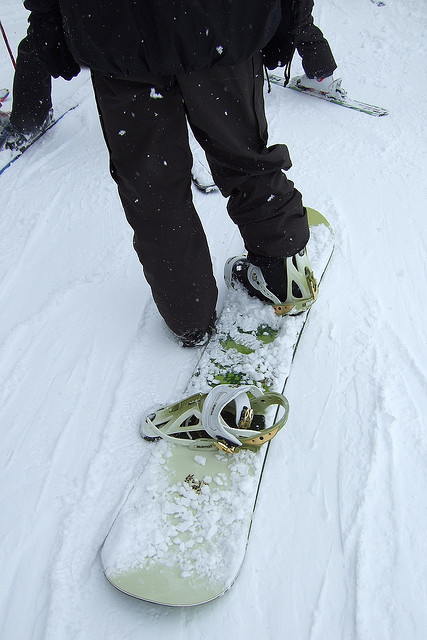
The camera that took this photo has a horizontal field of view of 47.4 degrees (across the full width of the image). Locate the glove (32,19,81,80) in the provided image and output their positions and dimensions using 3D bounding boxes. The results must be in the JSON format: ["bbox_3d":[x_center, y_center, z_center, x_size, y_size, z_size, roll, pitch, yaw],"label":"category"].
[{"bbox_3d":[-0.474,-0.784,1.470,0.114,0.220,0.052,-12,31,1],"label":"glove"}]

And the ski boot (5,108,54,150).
[{"bbox_3d":[-1.106,-1.180,2.964,0.118,0.127,0.447,14,53,25],"label":"ski boot"}]

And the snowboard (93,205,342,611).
[{"bbox_3d":[0.112,0.187,1.795,0.449,0.235,1.777,21,57,7],"label":"snowboard"}]

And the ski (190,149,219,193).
[{"bbox_3d":[-0.070,-0.804,2.731,0.102,0.055,0.265,-18,46,-4],"label":"ski"}]
